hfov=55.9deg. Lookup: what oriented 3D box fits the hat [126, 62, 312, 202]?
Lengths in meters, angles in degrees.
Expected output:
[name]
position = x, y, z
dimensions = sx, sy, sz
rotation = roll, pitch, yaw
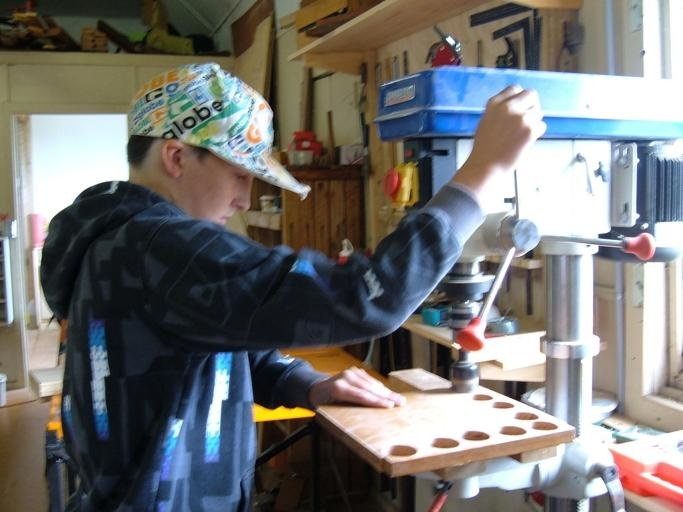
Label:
[hat]
position = -0.261, -0.265, 1.383
dimensions = 0.325, 0.168, 0.208
rotation = 21, 0, -10
